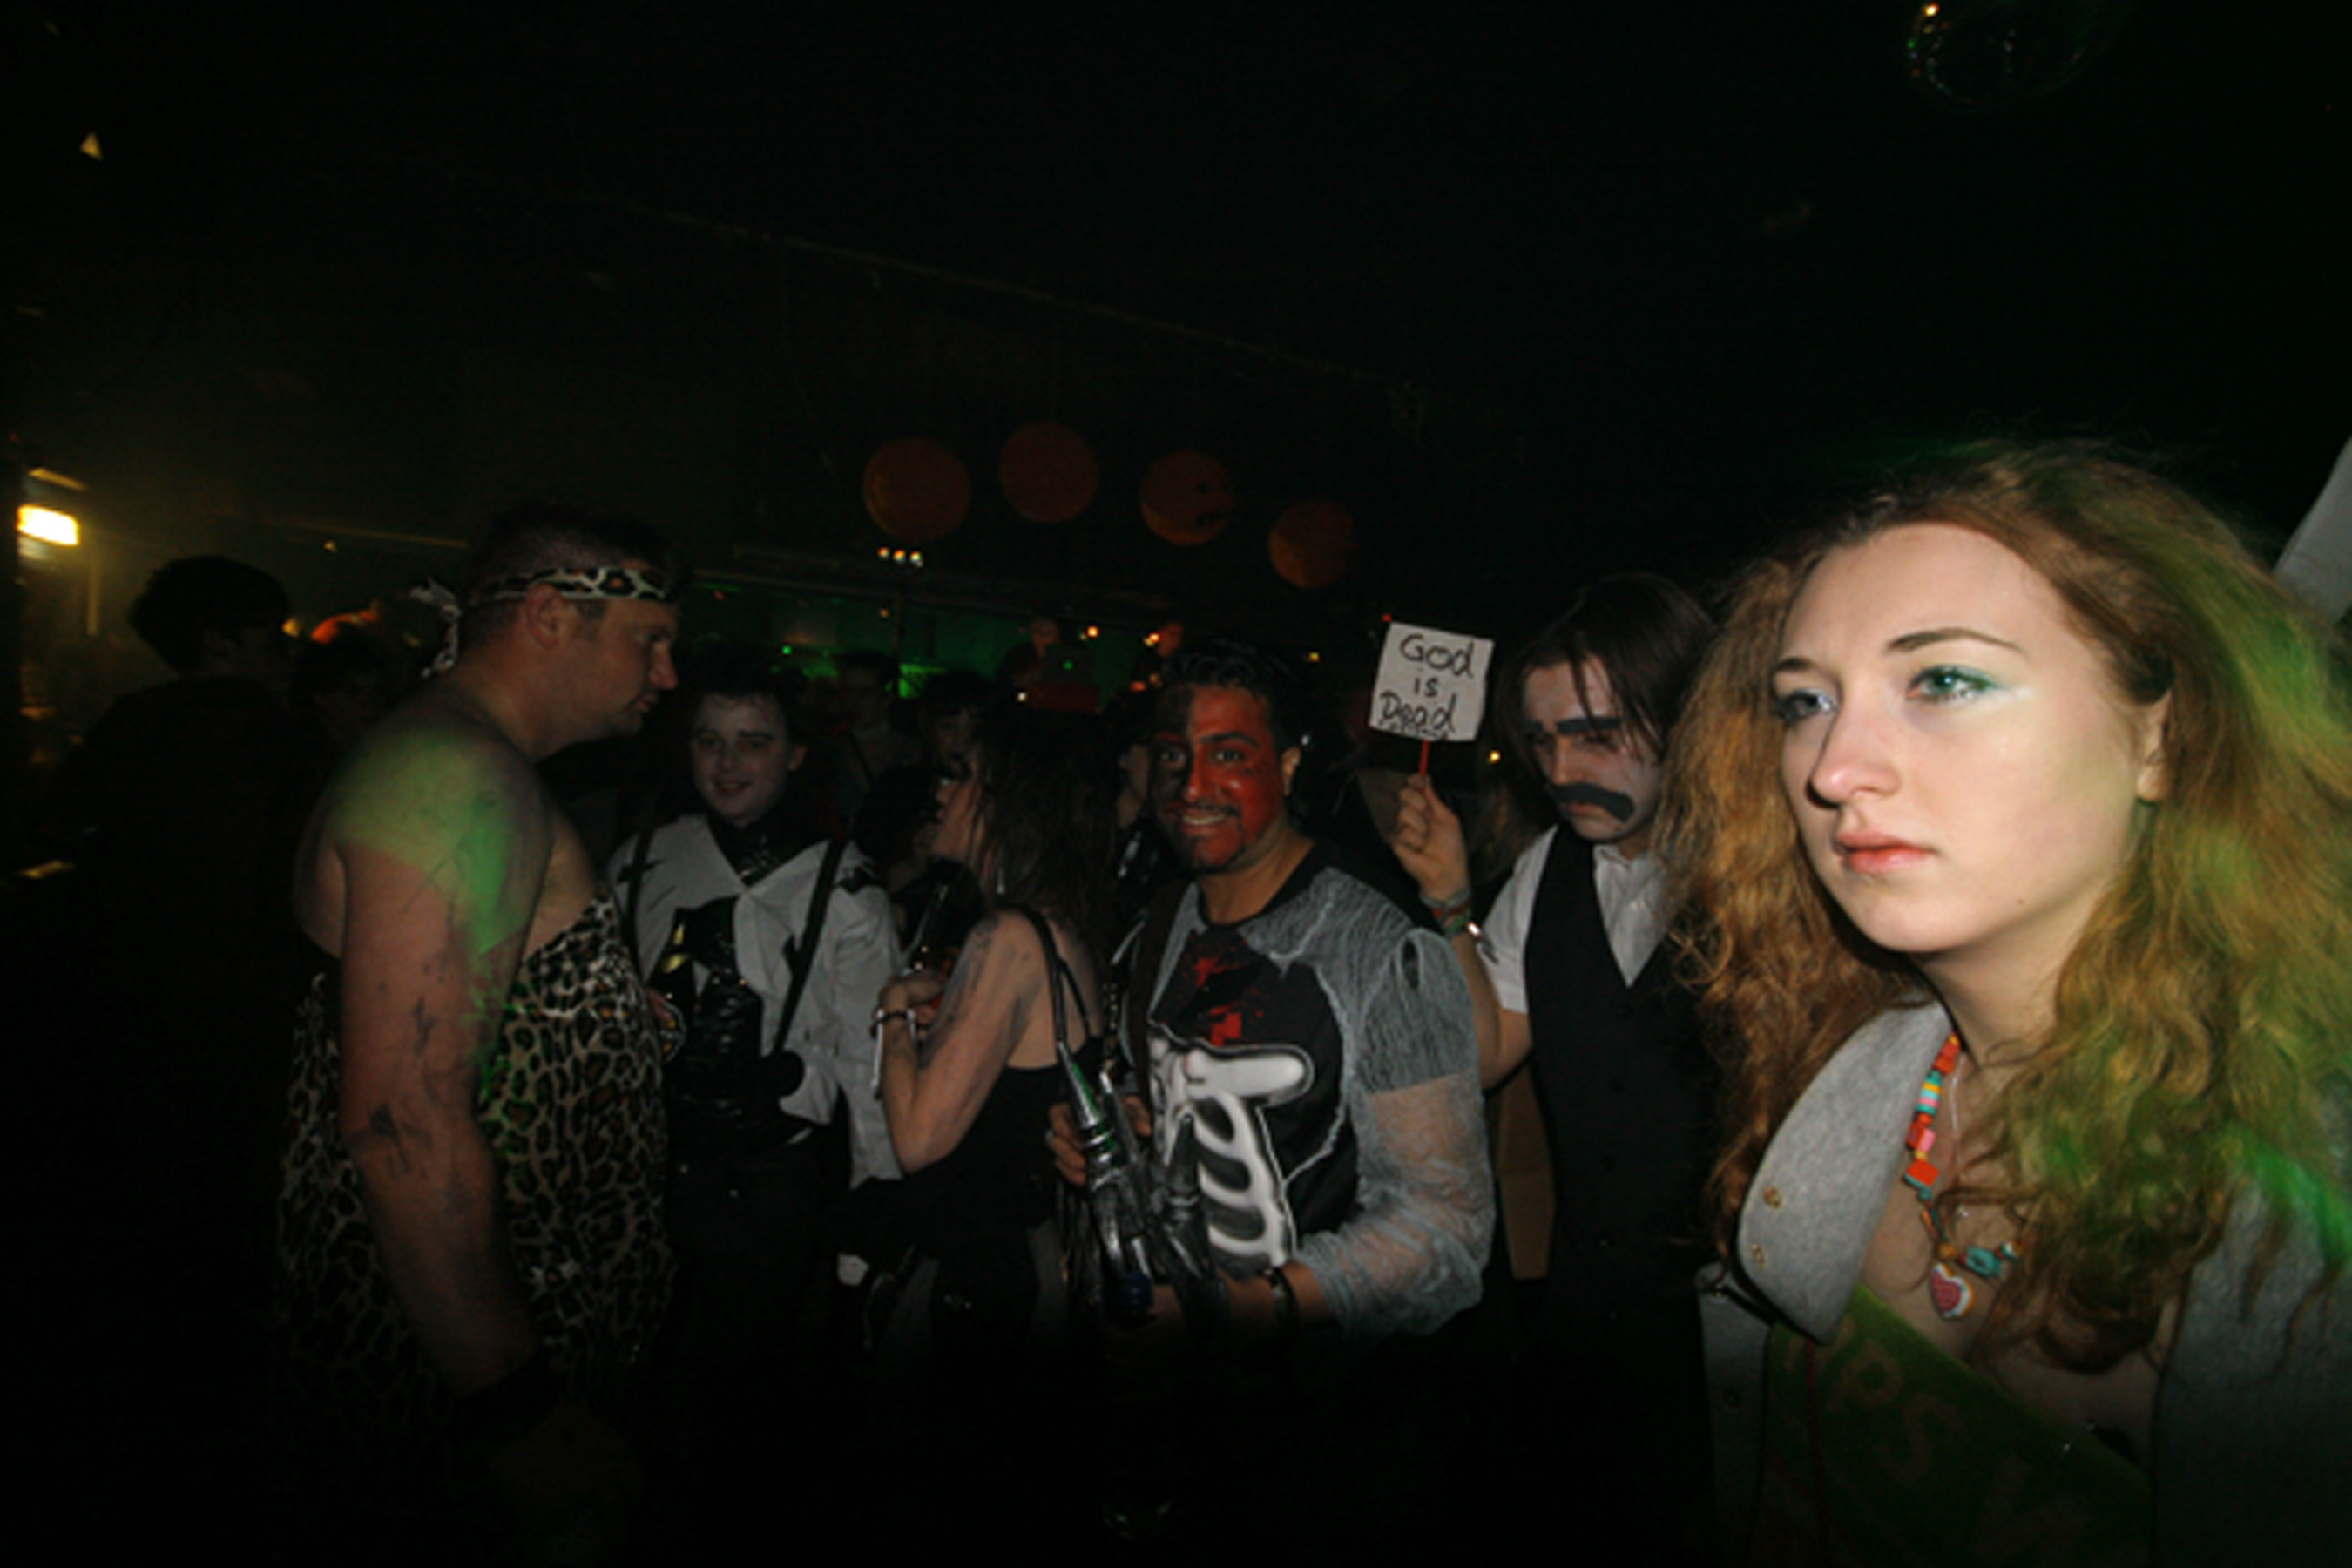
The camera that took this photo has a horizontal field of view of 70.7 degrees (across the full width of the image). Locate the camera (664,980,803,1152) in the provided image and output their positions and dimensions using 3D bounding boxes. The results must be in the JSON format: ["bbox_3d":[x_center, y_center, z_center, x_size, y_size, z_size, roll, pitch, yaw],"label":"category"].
[{"bbox_3d":[-1.922,1.038,7.057,0.428,0.511,0.319,4,-1,-33],"label":"camera"}]
